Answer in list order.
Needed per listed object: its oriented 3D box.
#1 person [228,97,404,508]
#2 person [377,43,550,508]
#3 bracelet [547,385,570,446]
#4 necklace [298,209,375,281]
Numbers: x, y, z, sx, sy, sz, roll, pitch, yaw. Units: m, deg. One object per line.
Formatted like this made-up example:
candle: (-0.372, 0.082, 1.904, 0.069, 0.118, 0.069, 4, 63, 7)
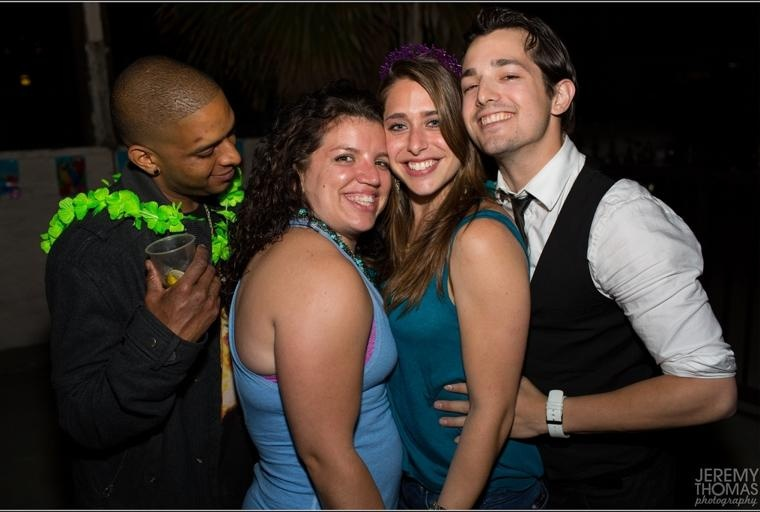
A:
person: (-0.355, 0.254, 3.002, 0.875, 2.240, 0.718, -2, 8, 1)
person: (0.386, 0.109, 3.202, 0.726, 2.583, 0.881, -6, 9, -25)
bracelet: (0.961, 0.883, 3.159, 0.111, 0.308, 0.190, 0, 8, 16)
necklace: (-0.242, -0.051, 3.223, 0.321, 0.439, 0.094, -42, 0, -22)
